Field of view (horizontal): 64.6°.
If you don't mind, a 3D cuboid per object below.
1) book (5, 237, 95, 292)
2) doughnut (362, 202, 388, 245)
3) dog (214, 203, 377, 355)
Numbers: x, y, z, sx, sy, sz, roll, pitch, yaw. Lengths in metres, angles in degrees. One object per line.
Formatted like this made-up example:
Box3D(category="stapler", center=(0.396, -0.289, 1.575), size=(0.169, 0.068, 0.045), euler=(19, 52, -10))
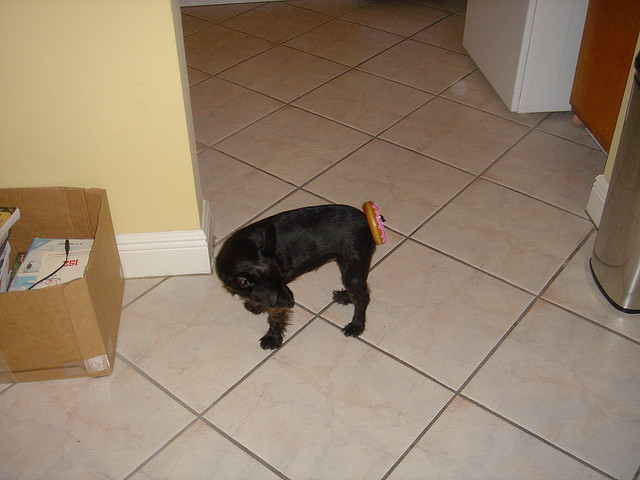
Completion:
Box3D(category="book", center=(-0.923, 0.089, 1.750), size=(0.215, 0.030, 0.220), euler=(8, 43, 4))
Box3D(category="doughnut", center=(0.192, -0.040, 1.769), size=(0.074, 0.209, 0.126), euler=(0, 41, 6))
Box3D(category="dog", center=(-0.055, 0.126, 1.807), size=(0.637, 0.480, 0.457), euler=(-10, 45, -1))
